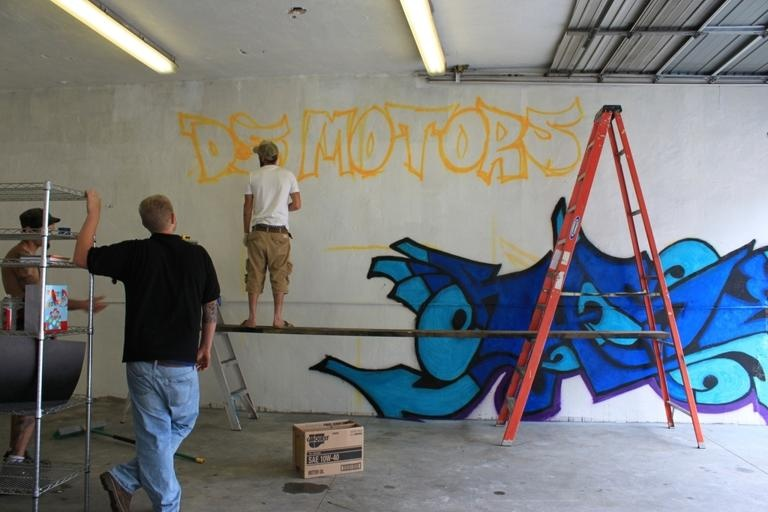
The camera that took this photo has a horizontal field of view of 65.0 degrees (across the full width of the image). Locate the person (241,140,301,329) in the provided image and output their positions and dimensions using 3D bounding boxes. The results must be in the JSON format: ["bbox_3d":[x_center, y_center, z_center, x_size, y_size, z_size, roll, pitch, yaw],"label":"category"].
[{"bbox_3d":[-1.334,-0.122,7.087,0.683,1.857,0.565,-1,10,-9],"label":"person"}]

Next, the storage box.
[{"bbox_3d":[-0.602,1.820,6.301,0.791,0.583,0.451,1,-6,-24],"label":"storage box"}]

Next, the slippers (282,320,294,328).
[{"bbox_3d":[-1.170,0.814,7.233,0.083,0.101,0.242,0,-9,-5],"label":"slippers"}]
